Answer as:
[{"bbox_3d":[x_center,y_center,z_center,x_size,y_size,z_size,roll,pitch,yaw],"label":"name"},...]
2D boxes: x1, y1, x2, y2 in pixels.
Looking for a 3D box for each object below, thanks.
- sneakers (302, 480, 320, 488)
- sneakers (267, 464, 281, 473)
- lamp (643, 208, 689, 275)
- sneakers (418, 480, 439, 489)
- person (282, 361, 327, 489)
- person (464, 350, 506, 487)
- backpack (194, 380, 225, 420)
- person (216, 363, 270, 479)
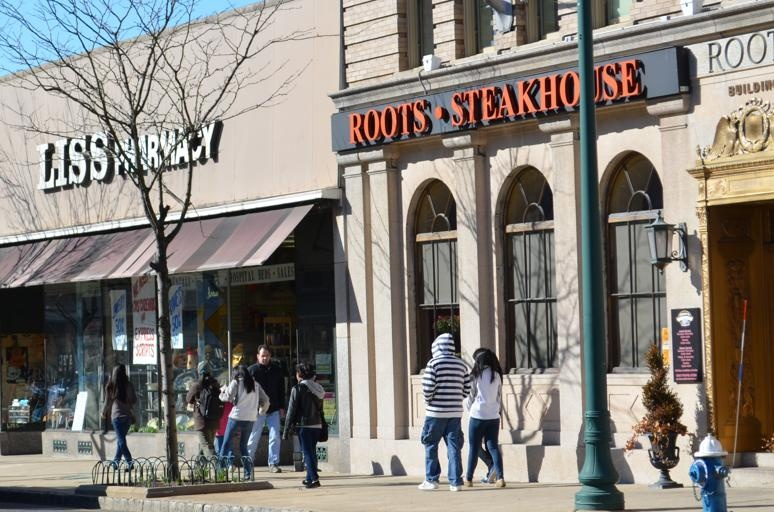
[{"bbox_3d":[-1.383,4.242,22.510,0.331,0.160,0.118,3,9,7],"label":"sneakers"},{"bbox_3d":[-2.326,4.419,25.047,0.111,0.112,0.240,8,-14,-44],"label":"sneakers"},{"bbox_3d":[4.948,-0.193,21.388,0.657,0.968,0.455,2,-11,-25],"label":"lamp"},{"bbox_3d":[0.748,4.160,21.989,0.144,0.201,0.425,3,-1,-43],"label":"sneakers"},{"bbox_3d":[-1.512,3.169,22.596,0.758,2.303,0.562,-2,-9,-5],"label":"person"},{"bbox_3d":[1.748,2.926,21.861,0.713,2.514,0.383,-3,-9,4],"label":"person"},{"bbox_3d":[-3.741,2.896,24.667,0.350,0.654,0.422,14,19,4],"label":"backpack"},{"bbox_3d":[-2.878,3.100,24.255,0.985,1.770,0.607,1,-10,-23],"label":"person"}]
